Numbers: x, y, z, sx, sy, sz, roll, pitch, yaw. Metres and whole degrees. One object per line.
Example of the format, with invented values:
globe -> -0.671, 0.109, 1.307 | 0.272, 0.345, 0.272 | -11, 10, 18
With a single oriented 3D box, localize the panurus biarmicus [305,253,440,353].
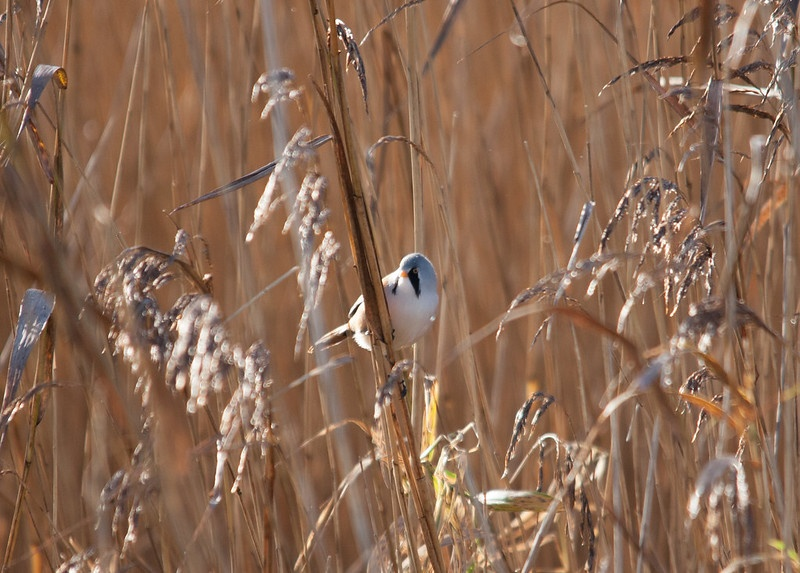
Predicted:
panurus biarmicus -> -0.121, 0.089, 5.566 | 0.562, 0.467, 0.362 | -2, -6, 30
